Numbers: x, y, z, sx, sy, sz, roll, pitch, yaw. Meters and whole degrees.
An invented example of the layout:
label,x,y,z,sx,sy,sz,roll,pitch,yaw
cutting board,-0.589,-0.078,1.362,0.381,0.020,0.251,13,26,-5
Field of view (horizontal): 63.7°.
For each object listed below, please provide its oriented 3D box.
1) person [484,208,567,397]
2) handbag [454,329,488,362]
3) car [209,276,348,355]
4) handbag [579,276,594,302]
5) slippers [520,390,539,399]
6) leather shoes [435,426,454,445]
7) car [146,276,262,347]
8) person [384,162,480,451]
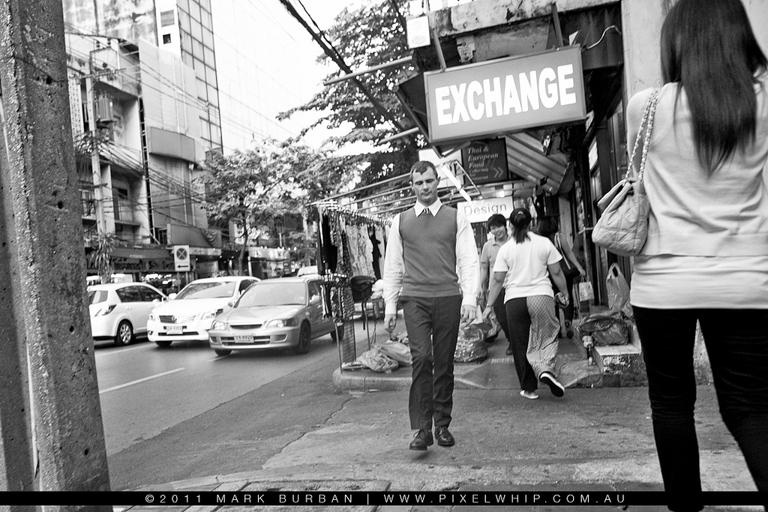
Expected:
label,x,y,z,sx,sy,sz,roll,pitch,yaw
person,1.611,0.536,6.952,0.761,1.913,0.653,-4,1,30
handbag,1.309,1.352,9.218,0.525,0.314,0.776,-1,-2,-3
car,-2.428,1.348,13.570,1.732,1.656,2.348,-5,1,20
handbag,2.926,0.531,9.017,0.185,0.279,0.275,-5,1,15
slippers,1.654,1.580,7.053,0.214,0.097,0.079,1,2,38
leather shoes,0.529,1.581,5.421,0.167,0.156,0.117,-5,1,7
car,-4.675,1.327,15.164,1.478,1.251,2.793,-4,-6,14
person,0.441,0.408,5.436,0.865,2.382,0.627,-5,1,-1
